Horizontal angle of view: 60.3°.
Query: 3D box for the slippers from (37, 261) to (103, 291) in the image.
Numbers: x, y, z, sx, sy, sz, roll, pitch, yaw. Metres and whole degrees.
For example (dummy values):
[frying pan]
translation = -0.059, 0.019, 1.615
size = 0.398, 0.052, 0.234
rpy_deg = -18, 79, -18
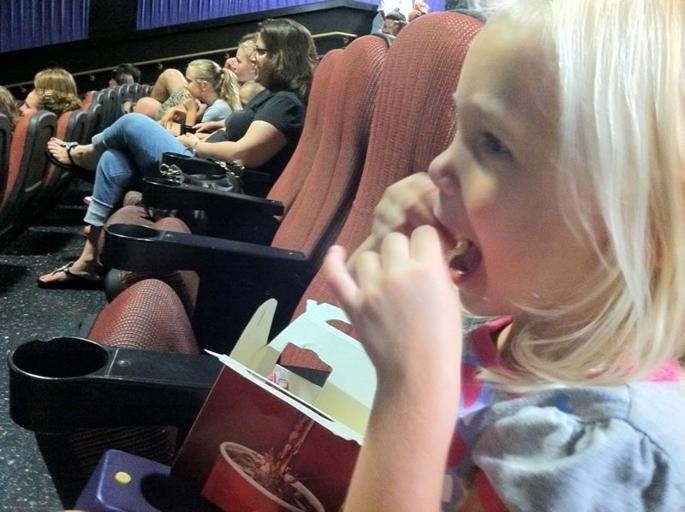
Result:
[slippers]
translation = -0.944, 0.088, 2.134
size = 0.271, 0.086, 0.142
rpy_deg = 5, -1, -24
